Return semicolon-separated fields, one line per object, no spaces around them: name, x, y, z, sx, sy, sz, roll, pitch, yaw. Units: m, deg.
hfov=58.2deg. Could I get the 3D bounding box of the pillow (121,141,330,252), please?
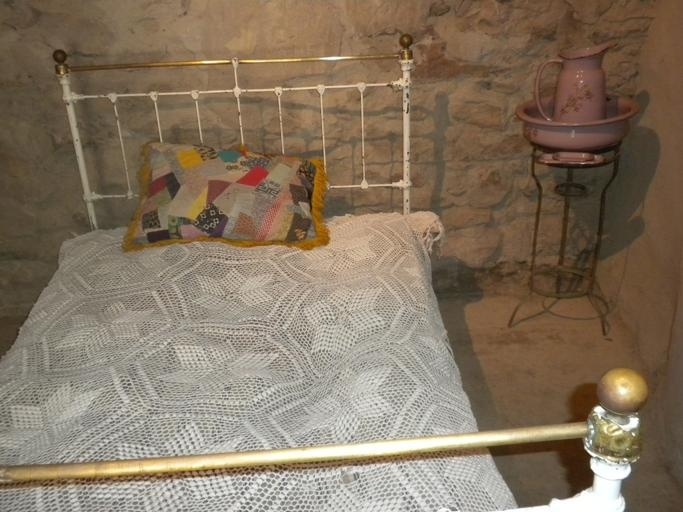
pillow;-0.406;-0.235;2.167;0.738;0.171;0.389;1;59;-6
